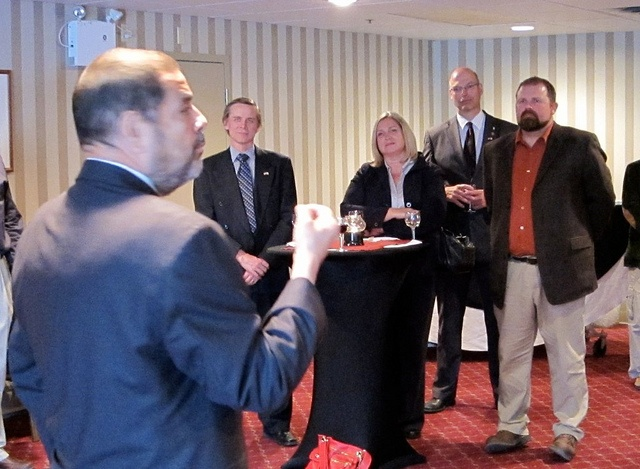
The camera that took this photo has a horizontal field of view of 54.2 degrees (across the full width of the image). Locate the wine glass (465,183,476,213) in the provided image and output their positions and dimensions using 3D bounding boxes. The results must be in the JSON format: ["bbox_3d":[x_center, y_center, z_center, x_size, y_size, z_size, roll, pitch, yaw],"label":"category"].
[{"bbox_3d":[0.997,-0.232,4.156,0.053,0.185,0.156,1,5,14],"label":"wine glass"}]

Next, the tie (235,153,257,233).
[{"bbox_3d":[-0.465,-0.286,3.956,0.105,0.542,0.087,-7,-11,-8],"label":"tie"}]

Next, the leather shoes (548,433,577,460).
[{"bbox_3d":[1.320,1.182,3.470,0.087,0.087,0.215,-14,8,-12],"label":"leather shoes"}]

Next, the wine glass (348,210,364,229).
[{"bbox_3d":[0.183,-0.054,3.141,0.065,0.104,0.102,-14,-36,6],"label":"wine glass"}]

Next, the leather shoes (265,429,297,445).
[{"bbox_3d":[-0.238,1.238,3.760,0.192,0.096,0.072,-1,-1,36],"label":"leather shoes"}]

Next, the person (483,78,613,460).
[{"bbox_3d":[1.281,0.179,3.529,0.680,2.157,0.457,1,5,17],"label":"person"}]

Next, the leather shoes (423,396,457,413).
[{"bbox_3d":[0.795,1.164,4.183,0.230,0.104,0.086,5,-7,-42],"label":"leather shoes"}]
